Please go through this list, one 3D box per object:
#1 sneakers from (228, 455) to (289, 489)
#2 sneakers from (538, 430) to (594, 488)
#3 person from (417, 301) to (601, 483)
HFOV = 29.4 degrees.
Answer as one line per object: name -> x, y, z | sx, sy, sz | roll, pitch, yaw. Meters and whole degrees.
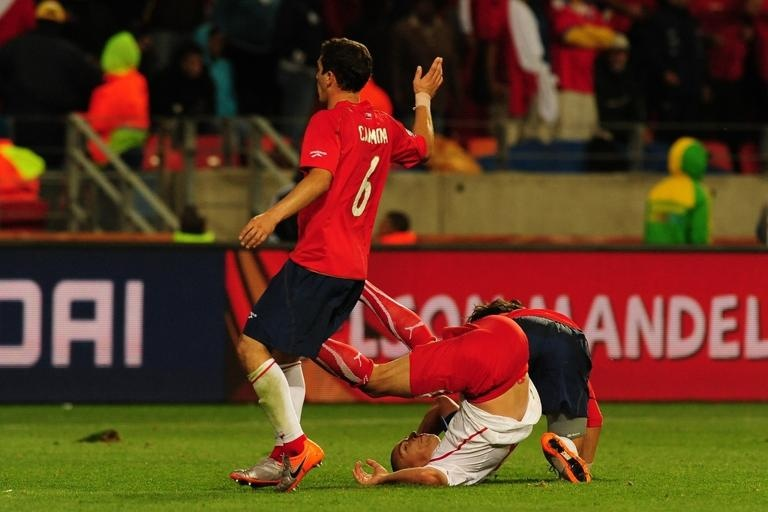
sneakers -> -1.152, 2.006, 13.481 | 0.482, 0.245, 0.231 | 6, -8, -19
sneakers -> 1.708, 1.901, 13.901 | 0.277, 0.661, 0.269 | -37, 12, -25
person -> 1.467, 1.336, 14.026 | 0.577, 1.767, 1.201 | -21, -1, -1
